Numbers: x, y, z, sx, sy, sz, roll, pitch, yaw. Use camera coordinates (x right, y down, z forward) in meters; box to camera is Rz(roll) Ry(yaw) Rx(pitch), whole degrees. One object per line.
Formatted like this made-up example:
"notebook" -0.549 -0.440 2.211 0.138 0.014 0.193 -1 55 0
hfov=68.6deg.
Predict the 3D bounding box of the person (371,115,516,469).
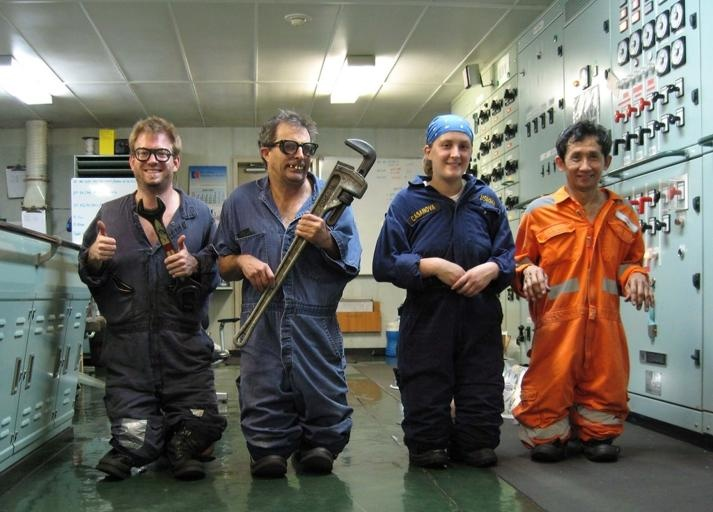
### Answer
"person" 0.480 0.168 2.811 0.731 1.872 0.442 -1 -5 13

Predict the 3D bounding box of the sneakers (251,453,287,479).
"sneakers" -0.429 1.029 2.572 0.177 0.130 0.160 1 -5 -9

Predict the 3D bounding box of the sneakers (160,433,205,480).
"sneakers" -0.865 1.003 2.647 0.165 0.214 0.242 2 -5 -23

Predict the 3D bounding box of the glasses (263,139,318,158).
"glasses" -0.329 -0.544 2.639 0.264 0.093 0.129 1 -5 -10

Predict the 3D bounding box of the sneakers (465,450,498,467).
"sneakers" 0.657 1.052 2.727 0.071 0.077 0.169 1 -4 -20

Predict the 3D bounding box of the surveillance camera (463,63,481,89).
"surveillance camera" 1.374 -2.160 6.190 0.151 0.270 0.280 -3 5 3

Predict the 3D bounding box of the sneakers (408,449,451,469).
"sneakers" 0.360 1.051 2.727 0.231 0.106 0.091 -3 -5 33

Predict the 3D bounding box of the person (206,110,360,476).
"person" -0.355 0.169 2.639 0.744 1.862 0.407 0 -5 -1

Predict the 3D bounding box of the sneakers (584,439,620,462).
"sneakers" 1.331 1.044 2.843 0.084 0.095 0.226 1 2 0

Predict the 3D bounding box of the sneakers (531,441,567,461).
"sneakers" 1.035 1.047 2.830 0.200 0.083 0.083 -2 14 4

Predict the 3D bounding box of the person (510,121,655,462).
"person" 1.251 0.175 2.935 0.717 1.869 0.296 -2 -5 18

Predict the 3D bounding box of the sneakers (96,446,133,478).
"sneakers" -1.182 1.016 2.557 0.097 0.091 0.204 10 -2 -7
